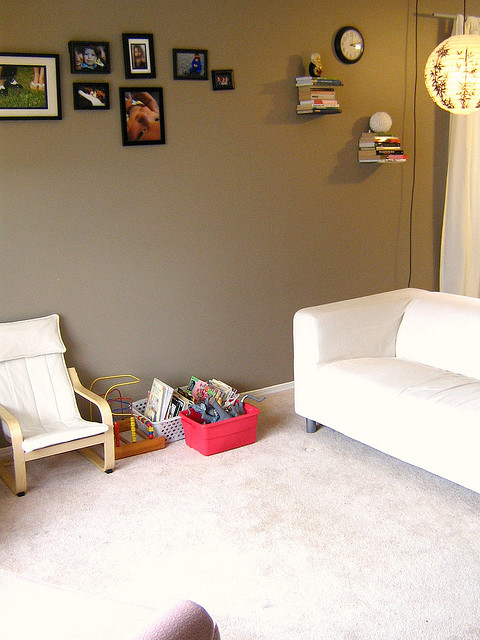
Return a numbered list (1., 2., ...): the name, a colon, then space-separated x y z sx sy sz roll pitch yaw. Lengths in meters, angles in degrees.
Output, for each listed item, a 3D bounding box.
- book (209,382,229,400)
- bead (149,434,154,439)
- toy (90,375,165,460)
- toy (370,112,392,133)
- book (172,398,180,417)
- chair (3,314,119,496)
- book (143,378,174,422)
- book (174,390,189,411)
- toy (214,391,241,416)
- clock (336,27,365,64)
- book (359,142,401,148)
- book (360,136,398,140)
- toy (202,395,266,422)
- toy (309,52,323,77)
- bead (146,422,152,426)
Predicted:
1. book: -0.106 0.432 2.946 0.077 0.079 0.019 26 3 30
2. bead: -0.499 0.662 2.832 0.019 0.016 0.020 -2 2 -1
3. toy: -0.633 0.667 2.894 0.361 0.404 0.474 -10 20 -26
4. toy: 1.007 -1.410 3.587 0.135 0.157 0.152 17 -20 27
5. book: -0.368 0.496 2.888 0.018 0.070 0.067 13 -3 -36
6. chair: -0.987 0.321 2.596 0.498 0.818 0.854 -8 17 -25
7. book: -0.490 0.468 2.908 0.099 0.221 0.286 -6 9 -33
8. book: -0.327 0.472 2.863 0.072 0.023 0.080 -5 28 -41
9. toy: -0.070 0.479 2.829 0.067 0.110 0.034 15 -30 -11
10. clock: 0.748 -1.899 3.458 0.048 0.277 0.251 3 0 45
11. book: 1.014 -1.262 3.629 0.318 0.035 0.064 -5 9 -17
12. book: 0.998 -1.305 3.597 0.275 0.035 0.076 -3 8 -6
13. toy: -0.074 0.504 2.764 0.188 0.093 0.118 -13 15 -23
14. toy: 0.494 -1.685 3.306 0.090 0.181 0.124 8 30 17
15. bead: -0.511 0.591 2.826 0.022 0.019 0.019 -34 11 -5
